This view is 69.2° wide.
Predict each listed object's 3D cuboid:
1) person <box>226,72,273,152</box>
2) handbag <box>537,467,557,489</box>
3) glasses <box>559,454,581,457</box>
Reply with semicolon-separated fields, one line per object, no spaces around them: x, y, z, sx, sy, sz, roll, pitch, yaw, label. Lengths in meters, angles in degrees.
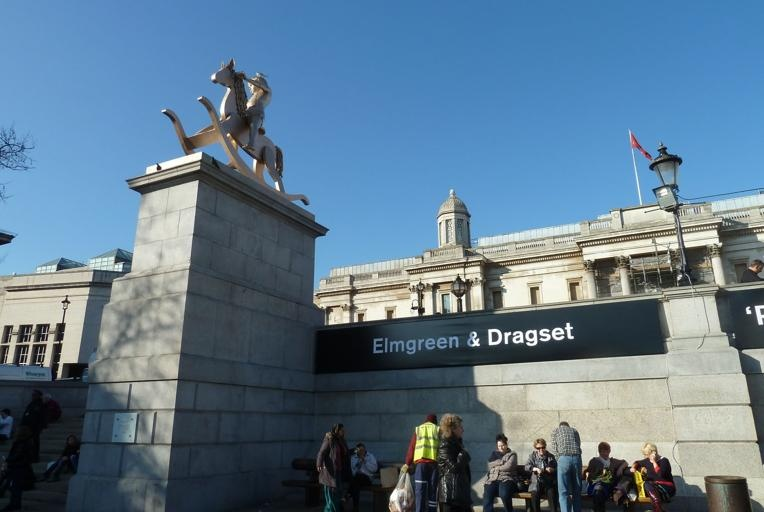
-3.977;-4.623;17.571;0.642;2.580;1.305;-11;-21;23;person
3.953;5.238;13.186;0.463;0.442;0.112;3;-4;0;handbag
4.354;4.618;12.895;0.500;0.086;0.152;1;-20;-9;glasses
